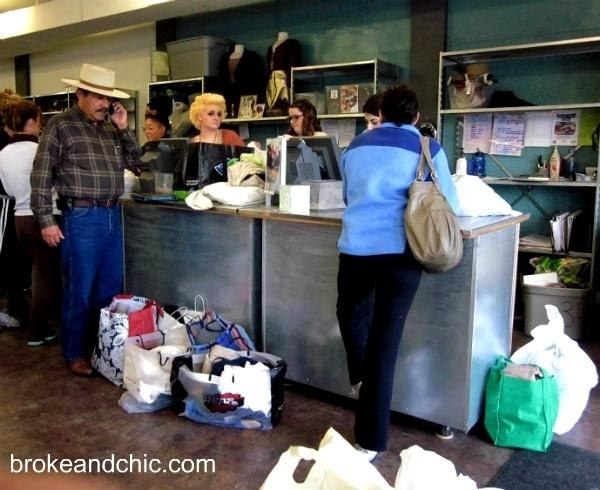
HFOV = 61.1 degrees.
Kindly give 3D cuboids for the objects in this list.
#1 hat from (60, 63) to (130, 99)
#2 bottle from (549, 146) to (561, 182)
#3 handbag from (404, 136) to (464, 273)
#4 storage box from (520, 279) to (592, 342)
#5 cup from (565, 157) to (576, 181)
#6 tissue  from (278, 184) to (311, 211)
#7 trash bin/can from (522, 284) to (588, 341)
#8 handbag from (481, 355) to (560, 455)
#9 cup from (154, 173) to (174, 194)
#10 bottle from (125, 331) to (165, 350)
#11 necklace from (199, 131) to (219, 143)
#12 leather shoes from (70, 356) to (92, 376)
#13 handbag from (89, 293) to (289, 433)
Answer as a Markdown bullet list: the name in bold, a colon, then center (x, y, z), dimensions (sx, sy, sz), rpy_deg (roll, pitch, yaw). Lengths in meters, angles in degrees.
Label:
- **hat**: center (-1.316, -1.054, 3.260), dimensions (0.316, 0.210, 0.321), rpy_deg (-7, 14, -30)
- **bottle**: center (2.132, -0.684, 4.247), dimensions (0.095, 0.264, 0.368), rpy_deg (6, 13, 25)
- **handbag**: center (0.577, -0.164, 2.184), dimensions (0.242, 0.587, 0.254), rpy_deg (8, 15, 34)
- **storage box**: center (1.982, 0.495, 3.921), dimensions (0.543, 0.391, 0.428), rpy_deg (1, -1, -10)
- **cup**: center (2.256, -0.638, 4.246), dimensions (0.095, 0.179, 0.244), rpy_deg (5, 13, 24)
- **tissue **: center (-0.031, -0.276, 2.962), dimensions (0.158, 0.153, 0.157), rpy_deg (2, 5, 24)
- **trash bin/can**: center (1.956, 0.522, 4.082), dimensions (0.530, 0.384, 0.419), rpy_deg (1, -1, 6)
- **handbag**: center (1.076, 0.774, 2.661), dimensions (0.339, 0.415, 0.426), rpy_deg (7, 11, 36)
- **cup**: center (-0.998, -0.436, 3.690), dimensions (0.143, 0.142, 0.259), rpy_deg (1, 0, -17)
- **bottle**: center (-0.920, 0.546, 2.993), dimensions (0.148, 0.052, 0.104), rpy_deg (-3, 4, -36)
- **necklace**: center (-0.782, -0.898, 4.360), dimensions (0.171, 0.091, 0.232), rpy_deg (0, 2, -22)
- **leather shoes**: center (-1.429, 0.785, 3.286), dimensions (0.203, 0.088, 0.070), rpy_deg (-5, 1, 43)
- **handbag**: center (-0.616, 0.658, 2.857), dimensions (0.866, 0.338, 0.683), rpy_deg (10, 7, 27)
